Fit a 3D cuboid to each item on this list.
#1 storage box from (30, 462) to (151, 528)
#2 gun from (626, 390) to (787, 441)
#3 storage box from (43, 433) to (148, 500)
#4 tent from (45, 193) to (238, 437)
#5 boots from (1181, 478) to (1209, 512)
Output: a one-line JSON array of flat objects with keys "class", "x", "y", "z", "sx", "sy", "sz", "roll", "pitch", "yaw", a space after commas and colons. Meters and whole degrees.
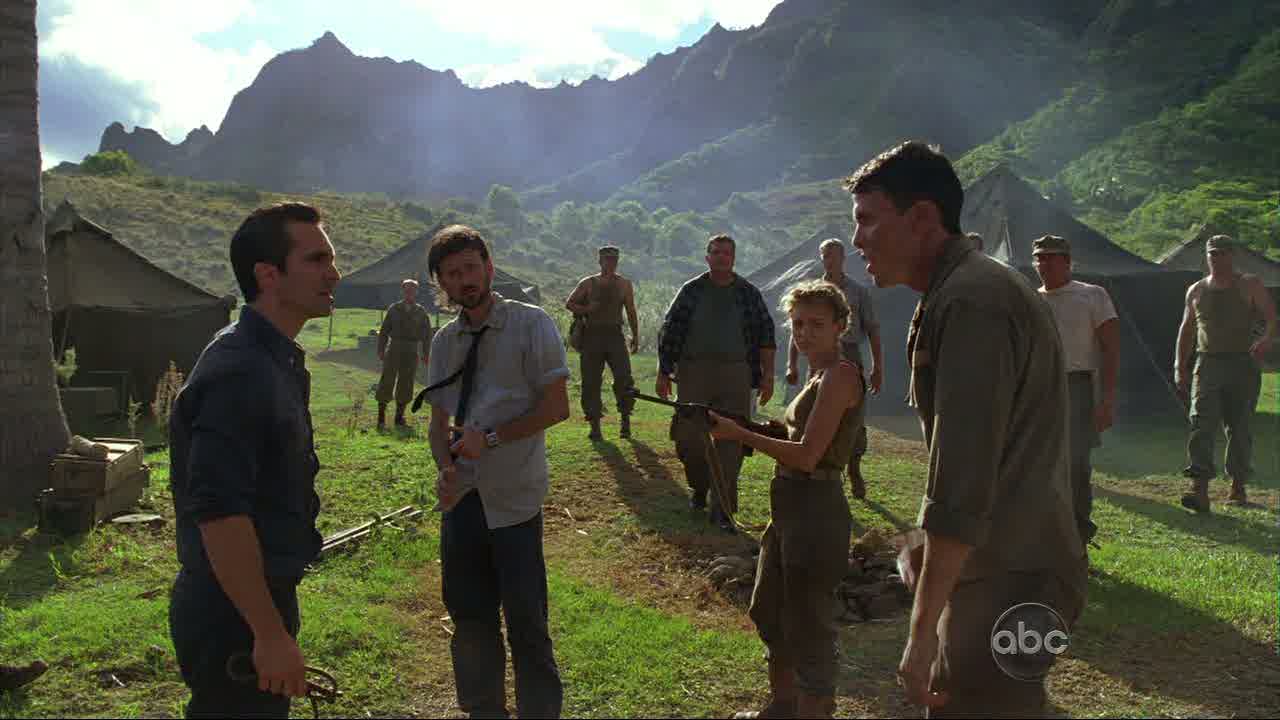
[{"class": "storage box", "x": -8.308, "y": 2.051, "z": 13.856, "sx": 0.920, "sy": 0.625, "sz": 2.407, "roll": 11, "pitch": 2, "yaw": -17}, {"class": "gun", "x": 0.828, "y": 0.697, "z": 10.222, "sx": 2.410, "sy": 0.500, "sz": 0.191, "roll": 17, "pitch": -30, "yaw": -39}, {"class": "storage box", "x": -8.153, "y": 1.555, "z": 13.763, "sx": 0.901, "sy": 0.401, "sz": 1.351, "roll": 4, "pitch": 7, "yaw": -9}, {"class": "tent", "x": -11.217, "y": -1.006, "z": 19.690, "sx": 5.644, "sy": 3.521, "sz": 5.170, "roll": -3, "pitch": 6, "yaw": -32}, {"class": "boots", "x": 9.010, "y": 2.179, "z": 14.811, "sx": 0.400, "sy": 0.539, "sz": 0.316, "roll": 5, "pitch": 4, "yaw": 27}]
